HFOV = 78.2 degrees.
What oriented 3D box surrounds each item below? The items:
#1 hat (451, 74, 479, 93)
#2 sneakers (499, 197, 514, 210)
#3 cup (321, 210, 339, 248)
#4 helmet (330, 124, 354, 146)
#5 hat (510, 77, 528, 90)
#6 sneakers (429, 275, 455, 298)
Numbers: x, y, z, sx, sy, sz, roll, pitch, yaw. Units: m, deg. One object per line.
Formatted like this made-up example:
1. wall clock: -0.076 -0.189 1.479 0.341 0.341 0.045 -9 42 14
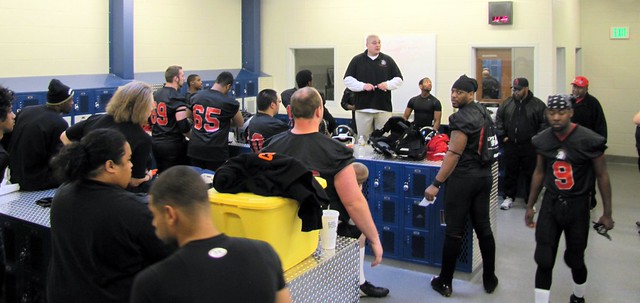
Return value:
1. hat: 2.438 -1.139 6.589 0.425 0.225 0.280 9 23 16
2. sneakers: 4.584 1.284 9.689 0.200 0.191 0.480 3 13 42
3. cup: 0.098 0.937 4.734 0.192 0.467 0.316 4 13 17
4. helmet: 0.473 -0.306 7.712 0.376 0.247 0.491 1 10 5
5. hat: 4.828 -1.617 9.419 0.535 0.264 0.349 -4 9 -30
6. sneakers: 2.103 2.324 6.766 0.211 0.164 0.419 -8 15 -16
